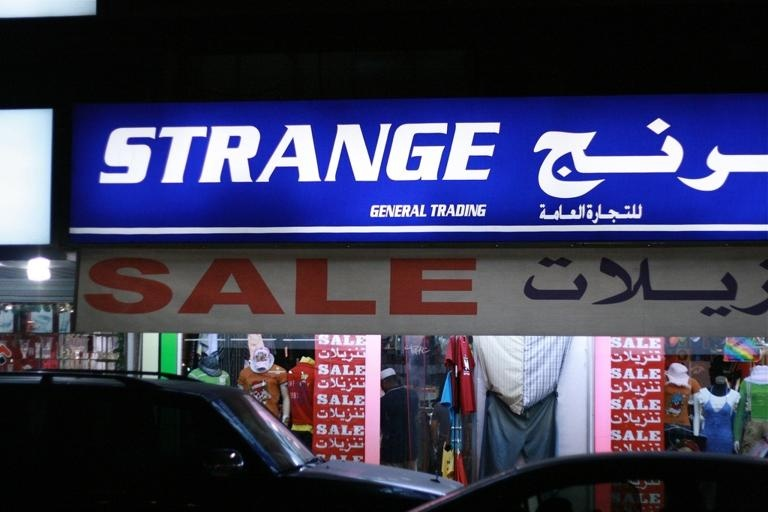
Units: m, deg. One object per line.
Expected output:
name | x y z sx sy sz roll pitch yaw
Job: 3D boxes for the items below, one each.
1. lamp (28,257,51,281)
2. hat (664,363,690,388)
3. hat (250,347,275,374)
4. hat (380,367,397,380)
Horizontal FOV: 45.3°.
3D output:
lamp | -4.117 0.159 10.940 0.277 0.279 0.229 4 -9 -6
hat | 3.852 1.562 12.061 0.250 0.317 0.104 5 -18 3
hat | -1.620 1.392 12.187 0.327 0.321 0.098 2 -1 3
hat | 0.064 1.546 12.062 0.143 0.051 0.158 -10 -9 -28
